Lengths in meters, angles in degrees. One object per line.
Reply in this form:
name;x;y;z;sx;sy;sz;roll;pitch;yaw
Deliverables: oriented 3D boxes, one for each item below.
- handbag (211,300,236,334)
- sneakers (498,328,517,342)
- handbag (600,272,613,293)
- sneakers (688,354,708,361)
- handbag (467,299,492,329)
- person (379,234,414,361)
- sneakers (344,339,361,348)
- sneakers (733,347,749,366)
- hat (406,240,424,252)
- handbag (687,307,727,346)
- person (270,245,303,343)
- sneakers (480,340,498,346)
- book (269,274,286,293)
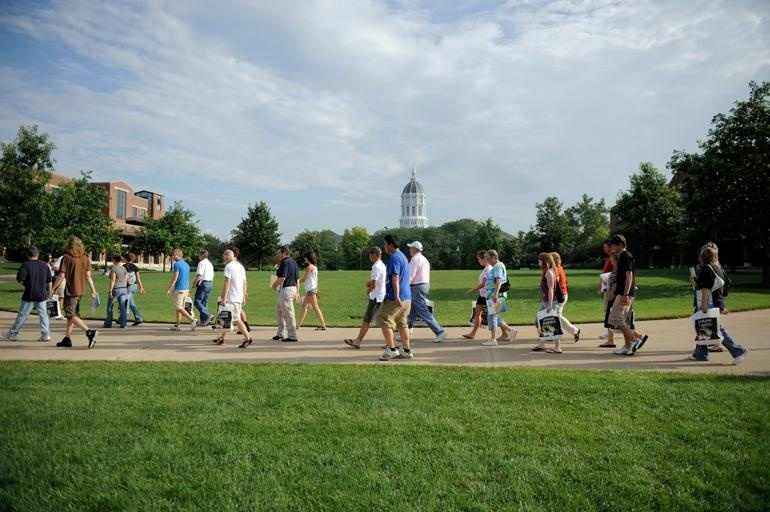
handbag;-3.960;1.411;15.026;0.476;0.667;0.753;1;-4;-15
sneakers;3.128;1.995;15.682;0.260;0.207;0.609;14;-23;-5
handbag;5.348;0.640;14.861;0.262;0.457;0.467;-3;7;-25
sneakers;6.597;2.109;12.992;0.373;0.185;0.248;-2;-4;25
handbag;2.588;1.656;17.029;0.740;0.958;0.312;1;-8;3
person;0.238;0.903;13.765;0.758;2.765;1.109;0;-4;3
sneakers;-0.810;2.082;14.666;0.336;0.121;0.188;4;-4;18
sneakers;7.236;2.047;12.562;0.148;0.322;0.118;31;26;7
hat;0.676;-0.264;14.947;0.275;0.149;0.406;-2;12;-41
handbag;6.679;1.461;12.751;0.559;0.784;0.319;-1;-4;24
person;-2.669;0.930;16.364;0.673;2.562;1.585;1;-4;-8
sneakers;2.555;2.113;15.046;0.371;0.153;0.148;0;-5;6
book;-2.822;0.688;15.899;0.288;0.397;0.707;2;-4;-20
